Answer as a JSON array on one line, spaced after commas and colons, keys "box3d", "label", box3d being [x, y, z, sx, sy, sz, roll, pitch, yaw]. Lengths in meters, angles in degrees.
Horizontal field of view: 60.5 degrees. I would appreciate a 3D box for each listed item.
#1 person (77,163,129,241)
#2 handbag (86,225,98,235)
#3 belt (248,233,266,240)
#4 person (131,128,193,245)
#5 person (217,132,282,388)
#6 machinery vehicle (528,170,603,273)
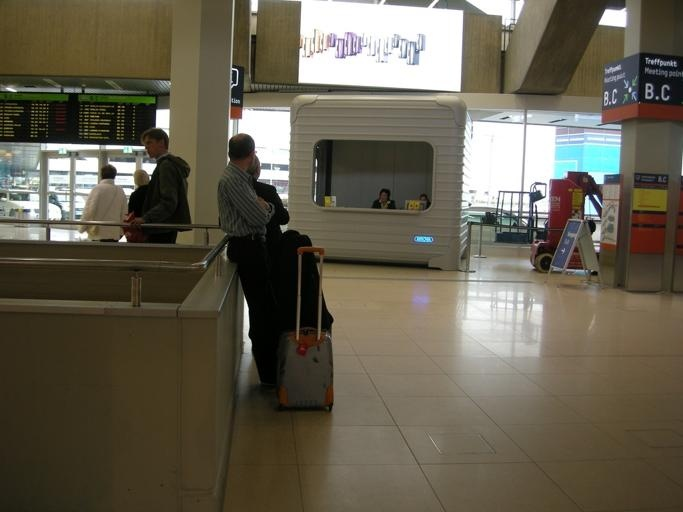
[{"box3d": [-2.760, -0.619, 6.816, 0.514, 0.876, 1.473, -2, 9, -22], "label": "person"}, {"box3d": [-2.797, -0.301, 6.578, 0.084, 0.090, 0.149, -2, 7, -31], "label": "handbag"}, {"box3d": [-0.581, -0.134, 4.133, 0.063, 0.051, 0.161, 7, 11, 37], "label": "belt"}, {"box3d": [-1.545, -0.586, 4.984, 0.491, 1.011, 0.590, -1, 8, -16], "label": "person"}, {"box3d": [-0.671, 0.049, 4.205, 0.398, 1.818, 0.346, -1, 7, -15], "label": "person"}, {"box3d": [3.881, -0.600, 10.125, 1.095, 1.699, 0.836, 3, 8, 18], "label": "machinery vehicle"}]
